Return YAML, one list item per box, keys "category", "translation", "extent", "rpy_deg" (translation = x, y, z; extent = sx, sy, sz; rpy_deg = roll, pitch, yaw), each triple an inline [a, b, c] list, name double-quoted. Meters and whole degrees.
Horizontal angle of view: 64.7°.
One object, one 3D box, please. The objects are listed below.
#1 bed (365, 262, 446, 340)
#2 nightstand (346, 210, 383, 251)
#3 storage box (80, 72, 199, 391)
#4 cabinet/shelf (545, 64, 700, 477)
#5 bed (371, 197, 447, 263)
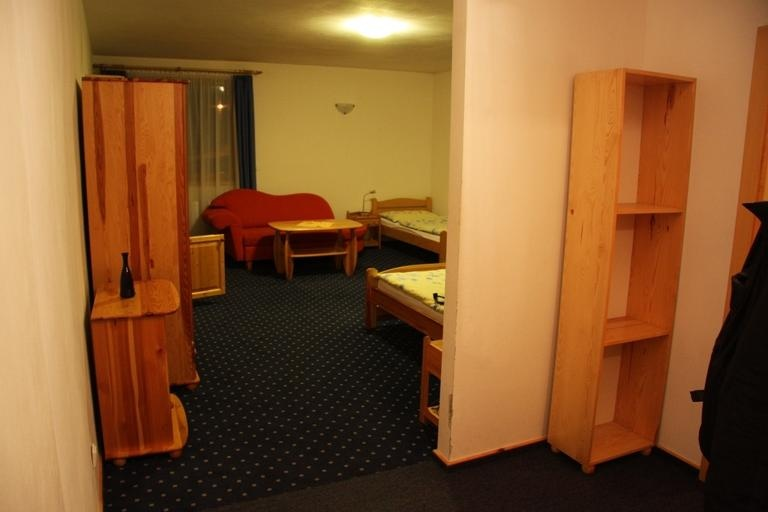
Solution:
- category: "bed"
  translation: [0.267, 0.356, 5.129]
  extent: [0.629, 0.284, 0.633]
  rpy_deg: [-3, 9, -31]
- category: "nightstand"
  translation: [-0.204, -0.394, 9.091]
  extent: [0.552, 0.753, 0.550]
  rpy_deg: [-3, 10, -19]
- category: "storage box"
  translation: [-1.663, -0.528, 4.118]
  extent: [0.657, 1.295, 0.391]
  rpy_deg: [-6, -16, -11]
- category: "cabinet/shelf"
  translation: [1.396, 0.059, 3.670]
  extent: [0.860, 2.280, 0.682]
  rpy_deg: [-12, 21, -31]
- category: "bed"
  translation: [0.467, -0.416, 8.634]
  extent: [0.696, 0.496, 1.287]
  rpy_deg: [-3, 14, -18]
